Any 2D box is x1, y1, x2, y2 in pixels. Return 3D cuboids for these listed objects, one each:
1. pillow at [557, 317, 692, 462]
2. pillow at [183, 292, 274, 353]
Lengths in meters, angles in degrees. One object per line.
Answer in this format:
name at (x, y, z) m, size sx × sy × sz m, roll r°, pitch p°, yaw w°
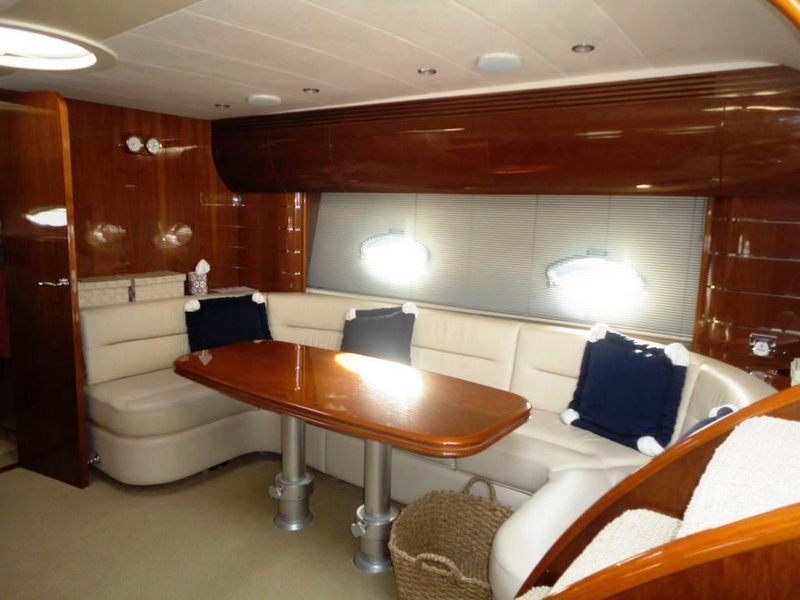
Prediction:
pillow at (1.201, 0.468, 2.870) m, size 0.205 × 0.593 × 0.594 m, roll 20°, pitch 4°, yaw -38°
pillow at (-1.207, 0.140, 3.850) m, size 0.497 × 0.401 × 0.109 m, roll -4°, pitch -14°, yaw -33°
